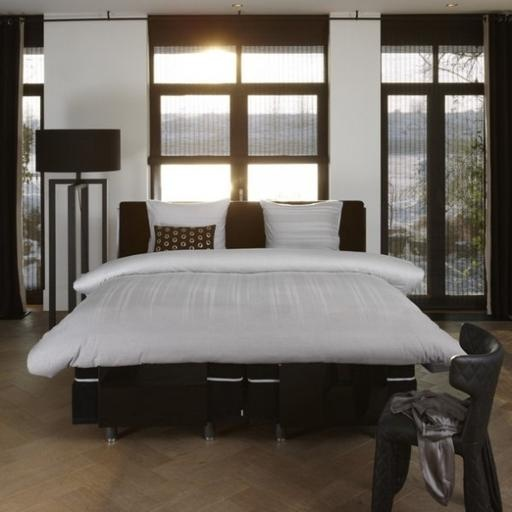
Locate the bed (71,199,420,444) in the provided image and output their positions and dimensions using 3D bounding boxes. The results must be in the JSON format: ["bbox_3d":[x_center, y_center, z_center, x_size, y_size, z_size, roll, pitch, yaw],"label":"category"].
[{"bbox_3d":[-0.054,0.510,3.343,1.183,1.062,1.487,0,-2,1],"label":"bed"}]
